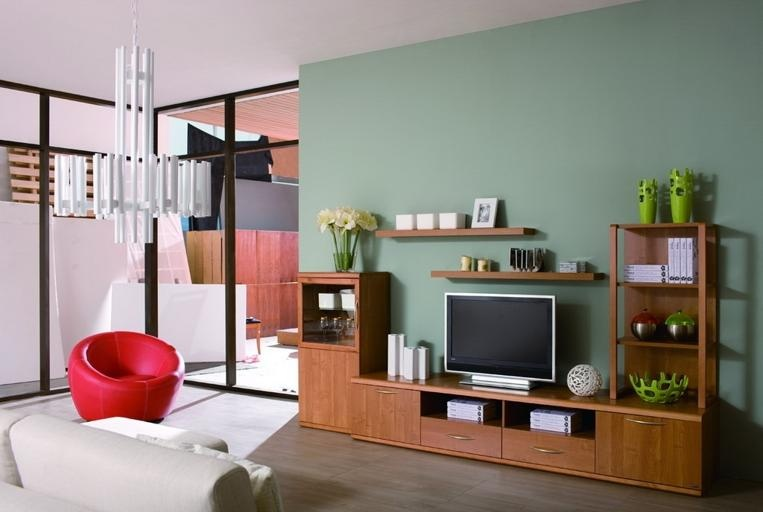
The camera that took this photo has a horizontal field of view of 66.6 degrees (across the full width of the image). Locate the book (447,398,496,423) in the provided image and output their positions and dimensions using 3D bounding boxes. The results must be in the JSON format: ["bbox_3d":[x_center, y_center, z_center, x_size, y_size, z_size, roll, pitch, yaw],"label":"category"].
[{"bbox_3d":[0.843,1.372,5.203,0.249,0.085,0.240,-1,-1,40],"label":"book"}]

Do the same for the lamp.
[{"bbox_3d":[-2.323,-1.158,5.310,1.044,2.179,3.787,-2,4,-24],"label":"lamp"}]

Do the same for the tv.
[{"bbox_3d":[1.133,0.775,5.222,0.905,0.668,0.199,-1,-4,27],"label":"tv"}]

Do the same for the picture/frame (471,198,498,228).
[{"bbox_3d":[1.002,-0.411,5.556,0.317,0.382,0.043,1,-17,34],"label":"picture/frame"}]

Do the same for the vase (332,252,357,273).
[{"bbox_3d":[-0.393,0.063,6.014,0.222,0.152,0.198,0,-3,-2],"label":"vase"}]

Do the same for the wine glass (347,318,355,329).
[{"bbox_3d":[-0.299,0.666,5.759,0.109,0.094,0.051,-3,-3,39],"label":"wine glass"}]

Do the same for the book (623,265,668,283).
[{"bbox_3d":[2.165,0.143,4.774,0.208,0.143,0.311,-1,3,-20],"label":"book"}]

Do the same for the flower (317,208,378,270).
[{"bbox_3d":[-0.411,-0.181,6.233,0.695,0.633,0.658,0,1,-23],"label":"flower"}]

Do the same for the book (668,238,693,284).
[{"bbox_3d":[2.406,0.036,4.640,0.184,0.352,0.072,2,4,26],"label":"book"}]
